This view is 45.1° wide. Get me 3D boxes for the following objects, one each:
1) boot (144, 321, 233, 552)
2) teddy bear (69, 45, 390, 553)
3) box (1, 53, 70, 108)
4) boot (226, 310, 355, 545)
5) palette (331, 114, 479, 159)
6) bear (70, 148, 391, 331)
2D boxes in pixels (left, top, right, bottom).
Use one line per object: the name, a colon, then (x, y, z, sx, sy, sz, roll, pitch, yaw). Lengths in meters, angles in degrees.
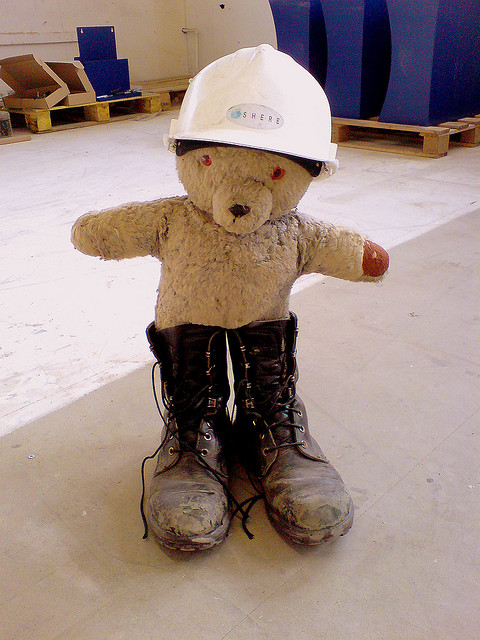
boot: (-0.082, 0.155, 0.894, 0.125, 0.264, 0.303, -4, 22, 0)
teddy bear: (-0.049, -0.042, 0.879, 0.482, 0.682, 0.441, 5, 24, 19)
box: (-1.670, -1.837, 4.476, 0.660, 0.362, 0.279, 11, 27, 31)
boot: (0.080, 0.190, 0.980, 0.183, 0.266, 0.399, -8, 29, -13)
palette: (1.099, -1.265, 3.877, 0.750, 0.233, 0.980, -20, 28, -37)
bear: (-0.015, -0.107, 0.924, 0.536, 0.347, 0.178, 4, 21, -9)
